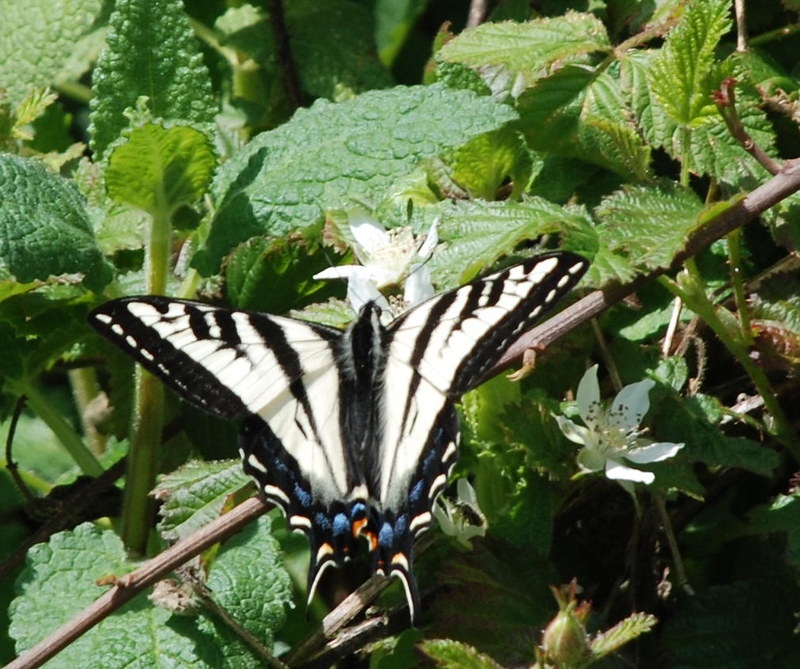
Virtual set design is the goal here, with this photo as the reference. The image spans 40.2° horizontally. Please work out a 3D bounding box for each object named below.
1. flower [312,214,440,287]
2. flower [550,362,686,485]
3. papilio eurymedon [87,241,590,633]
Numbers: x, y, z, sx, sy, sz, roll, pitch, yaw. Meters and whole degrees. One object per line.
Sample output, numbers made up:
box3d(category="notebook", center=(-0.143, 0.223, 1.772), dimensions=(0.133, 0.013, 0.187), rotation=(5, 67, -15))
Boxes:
box3d(category="flower", center=(-0.040, -0.111, 1.370), dimensions=(0.116, 0.120, 0.043), rotation=(8, 85, -37))
box3d(category="flower", center=(0.245, 0.114, 1.223), dimensions=(0.127, 0.073, 0.147), rotation=(-12, 58, 14))
box3d(category="papilio eurymedon", center=(-0.054, 0.125, 1.345), dimensions=(0.625, 0.426, 0.051), rotation=(-5, 12, -18))
